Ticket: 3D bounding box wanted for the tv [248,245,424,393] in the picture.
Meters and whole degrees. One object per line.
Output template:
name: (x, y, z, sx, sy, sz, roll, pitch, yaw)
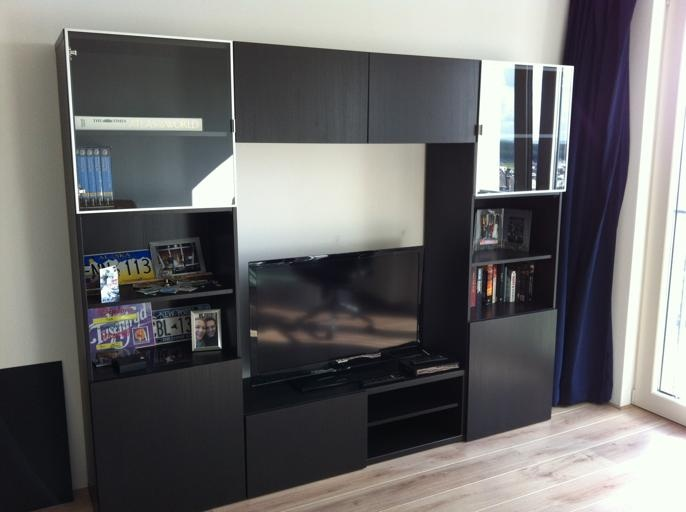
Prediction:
tv: (-0.080, 0.382, 3.322, 0.907, 0.559, 0.020, -6, 11, -27)
